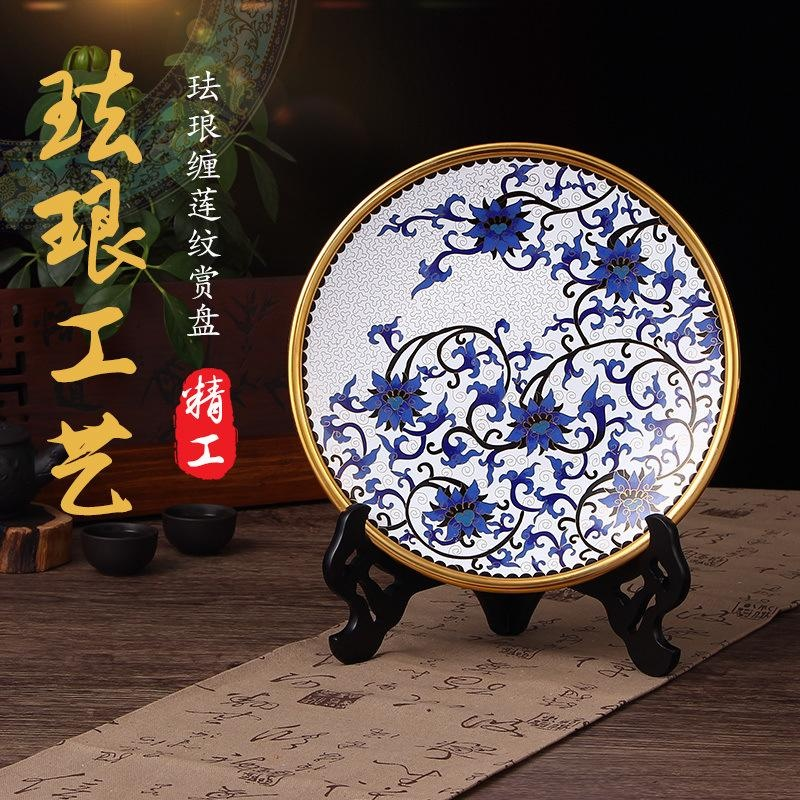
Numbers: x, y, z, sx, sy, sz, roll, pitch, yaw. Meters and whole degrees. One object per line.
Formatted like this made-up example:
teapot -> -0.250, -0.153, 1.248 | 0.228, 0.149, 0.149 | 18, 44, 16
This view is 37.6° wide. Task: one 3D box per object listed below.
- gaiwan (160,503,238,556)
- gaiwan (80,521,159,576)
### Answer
gaiwan -> -0.484, 0.315, 2.869 | 0.160, 0.069, 0.143 | 1, -7, 0
gaiwan -> -0.641, 0.342, 2.723 | 0.157, 0.072, 0.141 | 2, -7, 7
